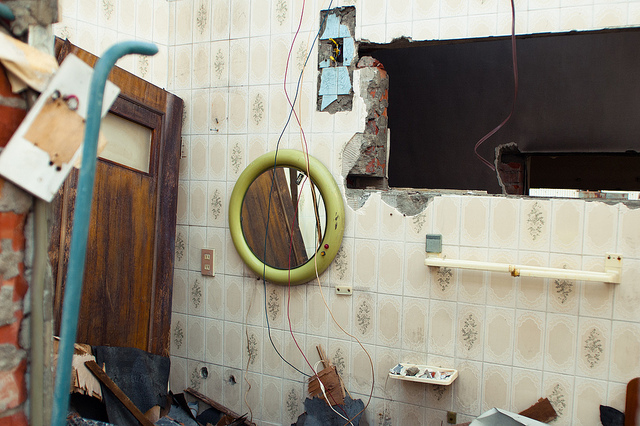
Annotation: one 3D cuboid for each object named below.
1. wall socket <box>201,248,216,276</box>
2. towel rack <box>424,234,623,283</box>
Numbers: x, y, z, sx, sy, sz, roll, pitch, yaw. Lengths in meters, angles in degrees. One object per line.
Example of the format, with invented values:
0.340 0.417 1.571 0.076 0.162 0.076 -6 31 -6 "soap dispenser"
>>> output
-0.676 0.294 3.192 0.097 0.160 0.031 1 -5 25 "wall socket"
1.010 0.271 2.740 0.981 0.247 0.206 4 11 29 "towel rack"
